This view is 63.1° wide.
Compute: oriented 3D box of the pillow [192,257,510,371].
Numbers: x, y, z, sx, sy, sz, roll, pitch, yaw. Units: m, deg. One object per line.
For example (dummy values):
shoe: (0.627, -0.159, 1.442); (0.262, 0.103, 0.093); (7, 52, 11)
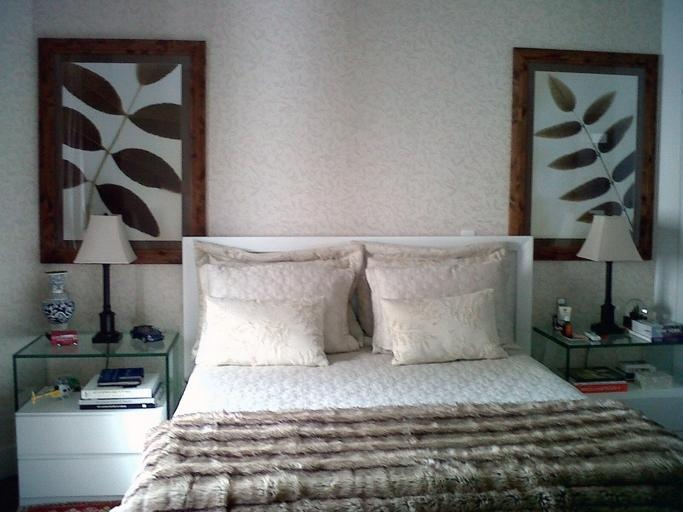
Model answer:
pillow: (0.052, 0.369, 3.372); (1.727, 0.585, 0.166); (-2, -5, -1)

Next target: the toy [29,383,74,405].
toy: (-1.798, 0.847, 3.460); (0.222, 0.100, 0.127); (-13, 14, -22)

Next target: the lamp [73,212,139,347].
lamp: (-1.523, 0.146, 3.627); (0.367, 0.816, 0.292); (-4, 3, -21)

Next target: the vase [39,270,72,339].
vase: (-1.832, 0.300, 3.606); (0.187, 0.404, 0.274); (-4, 3, -26)

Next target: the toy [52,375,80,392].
toy: (-1.716, 0.795, 3.483); (0.098, 0.062, 0.128); (39, 26, 24)

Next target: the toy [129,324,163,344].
toy: (-1.267, 0.497, 3.598); (0.175, 0.059, 0.106); (7, 9, 33)
